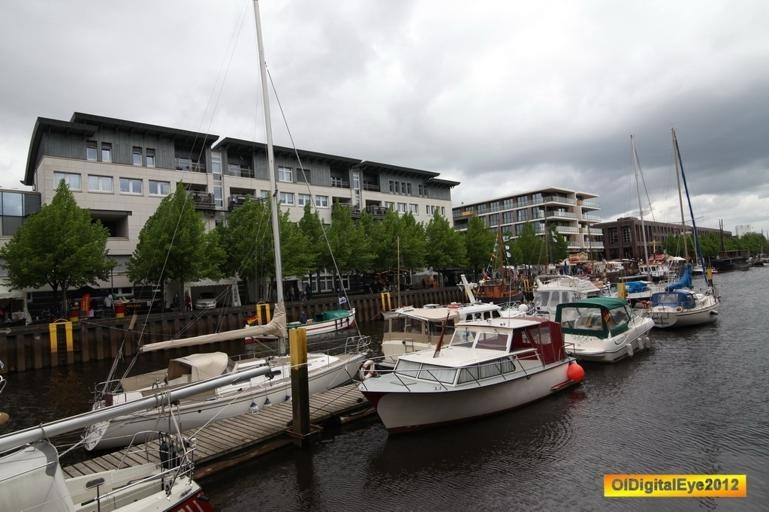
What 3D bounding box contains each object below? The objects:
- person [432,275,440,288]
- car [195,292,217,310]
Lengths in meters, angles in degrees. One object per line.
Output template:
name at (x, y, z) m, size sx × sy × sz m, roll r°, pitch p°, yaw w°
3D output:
person at (6.416, 3.242, 58.671) m, size 1.070 × 1.884 × 1.036 m, roll -2°, pitch 3°, yaw 2°
car at (-14.639, 3.787, 39.069) m, size 1.634 × 1.319 × 2.785 m, roll 0°, pitch -7°, yaw -17°
